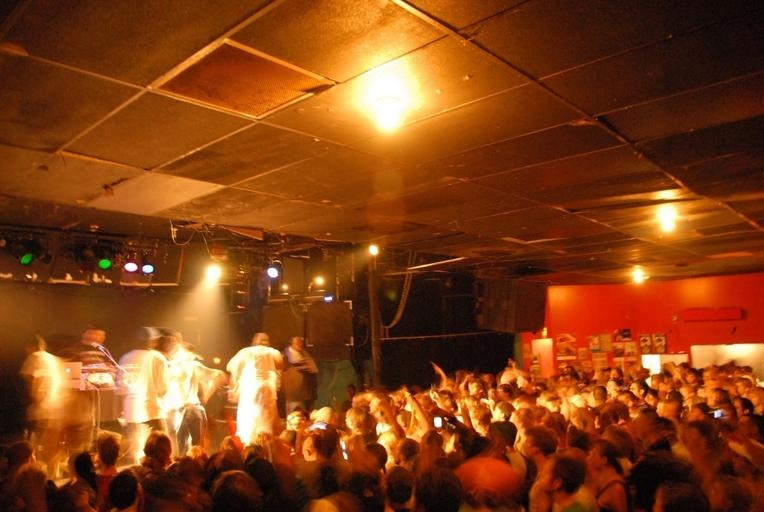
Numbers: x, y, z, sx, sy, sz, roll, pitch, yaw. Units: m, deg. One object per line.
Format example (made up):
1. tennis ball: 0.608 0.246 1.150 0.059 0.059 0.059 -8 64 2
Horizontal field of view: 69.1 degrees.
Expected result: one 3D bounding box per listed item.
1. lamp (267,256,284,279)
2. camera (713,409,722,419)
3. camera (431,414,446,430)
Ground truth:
1. lamp: -1.875 0.199 9.696 0.367 0.365 0.351 -5 6 -37
2. camera: 3.499 1.646 5.789 0.097 0.022 0.083 -12 -15 -44
3. camera: 0.544 1.638 5.452 0.127 0.109 0.032 4 -8 45
